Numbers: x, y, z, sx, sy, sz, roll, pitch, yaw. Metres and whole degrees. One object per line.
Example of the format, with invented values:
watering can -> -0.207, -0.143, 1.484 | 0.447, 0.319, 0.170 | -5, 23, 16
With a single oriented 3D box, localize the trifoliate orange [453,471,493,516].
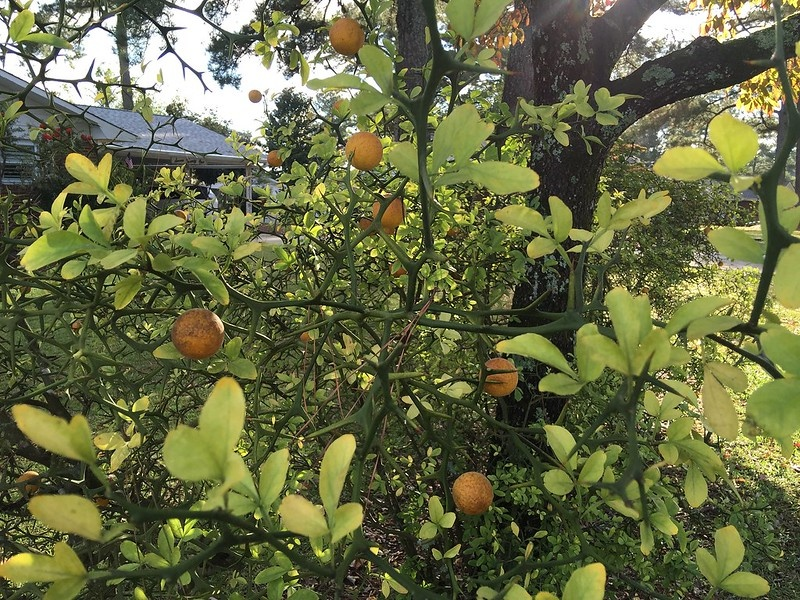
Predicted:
trifoliate orange -> 0.227, 0.575, 1.935 | 0.101, 0.118, 0.099 | -13, -8, -34

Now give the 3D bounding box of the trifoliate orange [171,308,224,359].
trifoliate orange -> -0.553, 0.093, 1.788 | 0.133, 0.156, 0.135 | 12, 8, -4

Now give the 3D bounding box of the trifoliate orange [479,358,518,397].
trifoliate orange -> 0.337, 0.268, 2.209 | 0.124, 0.146, 0.125 | 1, 2, 6
